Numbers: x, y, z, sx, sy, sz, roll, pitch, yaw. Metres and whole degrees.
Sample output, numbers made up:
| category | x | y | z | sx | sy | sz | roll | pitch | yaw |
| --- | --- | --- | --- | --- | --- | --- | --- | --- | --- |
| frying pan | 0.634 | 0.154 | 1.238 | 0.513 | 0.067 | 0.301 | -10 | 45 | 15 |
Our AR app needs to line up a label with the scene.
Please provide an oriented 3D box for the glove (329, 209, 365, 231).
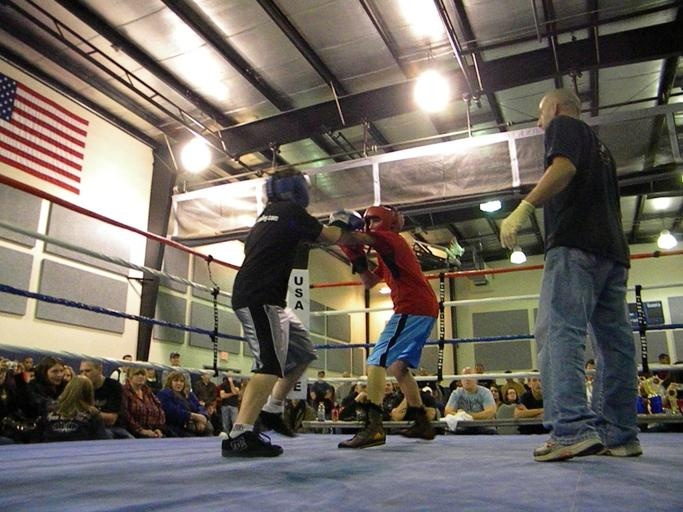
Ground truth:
| category | x | y | z | sx | sy | sz | roll | pitch | yaw |
| --- | --- | --- | --- | --- | --- | --- | --- | --- | --- |
| glove | 0.027 | -0.228 | 2.824 | 0.171 | 0.122 | 0.172 | 11 | 16 | 2 |

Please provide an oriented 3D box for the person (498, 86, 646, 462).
| category | x | y | z | sx | sy | sz | roll | pitch | yaw |
| --- | --- | --- | --- | --- | --- | --- | --- | --- | --- |
| person | 0.955 | 0.014 | 1.994 | 0.419 | 1.585 | 0.696 | -13 | -21 | 35 |

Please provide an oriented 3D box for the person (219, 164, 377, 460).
| category | x | y | z | sx | sy | sz | roll | pitch | yaw |
| --- | --- | --- | --- | --- | --- | --- | --- | --- | --- |
| person | -0.279 | 0.203 | 2.450 | 0.547 | 1.486 | 0.491 | 0 | -17 | -1 |

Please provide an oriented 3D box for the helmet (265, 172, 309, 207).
| category | x | y | z | sx | sy | sz | roll | pitch | yaw |
| --- | --- | --- | --- | --- | --- | --- | --- | --- | --- |
| helmet | -0.281 | -0.343 | 2.520 | 0.237 | 0.172 | 0.164 | -2 | -7 | -4 |

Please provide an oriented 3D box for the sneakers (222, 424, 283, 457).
| category | x | y | z | sx | sy | sz | roll | pitch | yaw |
| --- | --- | --- | --- | --- | --- | --- | --- | --- | --- |
| sneakers | -0.401 | 0.823 | 2.127 | 0.338 | 0.117 | 0.103 | 3 | -11 | -6 |

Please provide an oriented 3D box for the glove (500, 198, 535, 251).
| category | x | y | z | sx | sy | sz | roll | pitch | yaw |
| --- | --- | --- | --- | --- | --- | --- | --- | --- | --- |
| glove | 0.695 | -0.132 | 1.897 | 0.135 | 0.247 | 0.188 | -6 | -17 | 16 |

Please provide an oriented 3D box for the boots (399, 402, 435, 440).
| category | x | y | z | sx | sy | sz | roll | pitch | yaw |
| --- | --- | --- | --- | --- | --- | --- | --- | --- | --- |
| boots | 0.482 | 1.033 | 2.992 | 0.233 | 0.195 | 0.111 | -20 | -31 | 30 |

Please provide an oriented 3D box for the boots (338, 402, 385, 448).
| category | x | y | z | sx | sy | sz | roll | pitch | yaw |
| --- | --- | --- | --- | --- | --- | --- | --- | --- | --- |
| boots | 0.087 | 0.900 | 2.522 | 0.333 | 0.209 | 0.118 | 10 | -18 | -36 |

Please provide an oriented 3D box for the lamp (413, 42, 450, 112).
| category | x | y | z | sx | sy | sz | roll | pitch | yaw |
| --- | --- | --- | --- | --- | --- | --- | --- | --- | --- |
| lamp | 1.247 | -2.381 | 6.624 | 0.522 | 0.929 | 1.102 | -5 | -16 | 13 |
